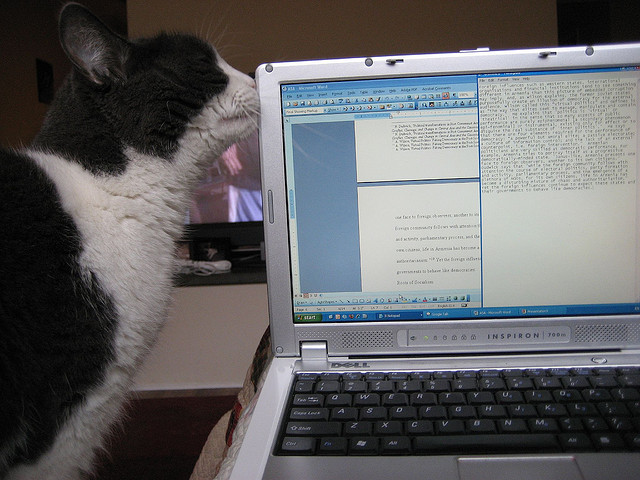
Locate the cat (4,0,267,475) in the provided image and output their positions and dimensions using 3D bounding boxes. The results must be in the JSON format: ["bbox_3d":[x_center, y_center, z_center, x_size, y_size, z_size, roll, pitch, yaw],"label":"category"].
[{"bbox_3d":[-0.299,-0.016,0.929,0.425,0.717,0.190,-5,7,-28],"label":"cat"}]
